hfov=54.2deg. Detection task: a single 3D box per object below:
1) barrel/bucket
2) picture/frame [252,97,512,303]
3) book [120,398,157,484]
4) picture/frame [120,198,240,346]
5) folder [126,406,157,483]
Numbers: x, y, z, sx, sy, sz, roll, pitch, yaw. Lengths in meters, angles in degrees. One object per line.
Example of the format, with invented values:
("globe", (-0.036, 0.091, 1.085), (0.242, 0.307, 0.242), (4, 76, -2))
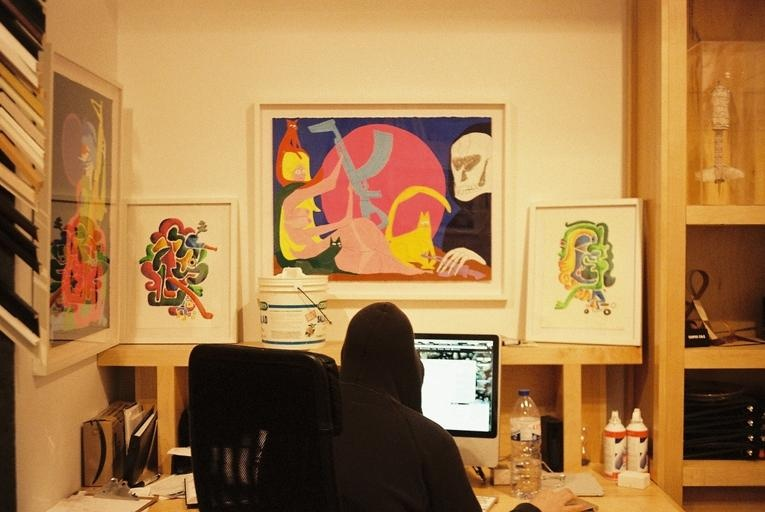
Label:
("barrel/bucket", (-0.418, 0.249, 3.501), (0.373, 0.366, 0.336), (1, -2, -15))
("picture/frame", (0.044, -0.266, 3.564), (0.959, 0.723, 0.046), (0, 1, 2))
("book", (-1.090, 0.852, 3.356), (0.086, 0.282, 0.292), (6, 4, 10))
("picture/frame", (-0.969, 0.097, 3.530), (0.677, 0.891, 0.064), (0, -5, -4))
("folder", (-1.078, 0.862, 3.355), (0.071, 0.240, 0.246), (7, 18, 2))
